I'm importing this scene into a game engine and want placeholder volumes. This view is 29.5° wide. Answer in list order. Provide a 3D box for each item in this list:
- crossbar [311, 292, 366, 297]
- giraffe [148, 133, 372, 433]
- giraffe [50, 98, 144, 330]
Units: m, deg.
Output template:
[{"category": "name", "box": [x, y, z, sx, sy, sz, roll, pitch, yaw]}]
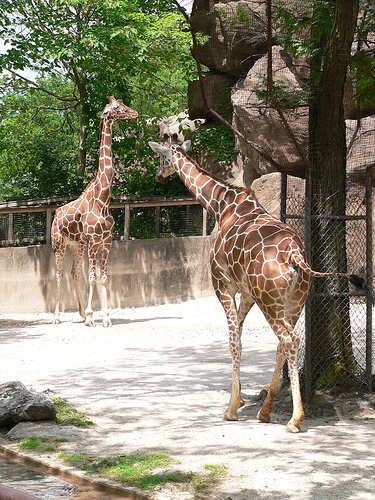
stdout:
[{"category": "crossbar", "box": [1.438, 0.432, 6.906, 0.492, 0.062, 0.062, 3, -4, -22]}, {"category": "giraffe", "box": [0.561, 0.283, 6.574, 0.821, 2.291, 2.071, -6, 1, -9]}, {"category": "giraffe", "box": [-2.016, -0.922, 14.811, 1.965, 4.390, 5.070, -6, 1, -11]}]
